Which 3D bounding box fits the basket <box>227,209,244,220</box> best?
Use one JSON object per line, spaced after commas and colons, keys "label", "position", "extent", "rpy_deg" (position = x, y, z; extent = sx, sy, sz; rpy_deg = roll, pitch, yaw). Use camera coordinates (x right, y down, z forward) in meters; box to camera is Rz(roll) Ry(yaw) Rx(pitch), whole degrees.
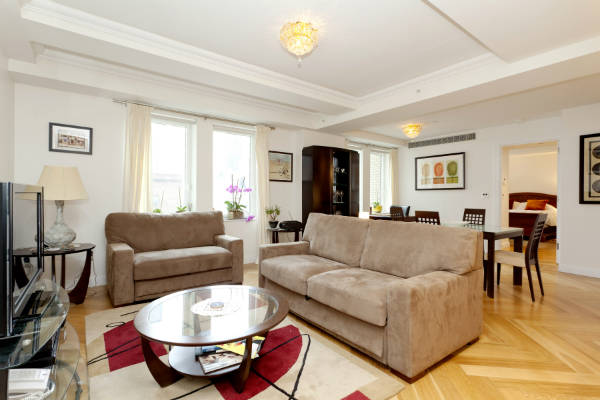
{"label": "basket", "position": [-1.167, 0.265, 7.067], "extent": [0.192, 0.111, 0.187], "rpy_deg": [2, -2, -33]}

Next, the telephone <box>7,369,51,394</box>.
{"label": "telephone", "position": [-2.192, 1.462, 3.126], "extent": [0.319, 0.167, 0.121], "rpy_deg": [0, 1, -7]}

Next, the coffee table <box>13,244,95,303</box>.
{"label": "coffee table", "position": [-3.128, 1.012, 5.262], "extent": [0.821, 0.656, 0.858], "rpy_deg": [2, -11, -15]}

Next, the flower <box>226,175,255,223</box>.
{"label": "flower", "position": [-1.130, -0.049, 7.154], "extent": [0.503, 0.756, 0.564], "rpy_deg": [1, 3, -33]}

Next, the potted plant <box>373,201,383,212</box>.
{"label": "potted plant", "position": [1.888, 0.163, 9.496], "extent": [0.260, 0.327, 0.229], "rpy_deg": [1, -5, -5]}

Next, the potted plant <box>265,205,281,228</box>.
{"label": "potted plant", "position": [-0.507, 0.318, 7.367], "extent": [0.344, 0.387, 0.362], "rpy_deg": [-1, 0, 2]}

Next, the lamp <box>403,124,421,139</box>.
{"label": "lamp", "position": [2.254, -1.384, 7.741], "extent": [0.336, 0.230, 0.330], "rpy_deg": [-1, -1, 1]}

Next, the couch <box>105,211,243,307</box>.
{"label": "couch", "position": [-1.787, 0.756, 5.704], "extent": [1.833, 1.183, 1.063], "rpy_deg": [-3, 5, -35]}

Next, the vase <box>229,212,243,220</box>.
{"label": "vase", "position": [-1.165, 0.295, 7.055], "extent": [0.159, 0.092, 0.156], "rpy_deg": [2, -3, -32]}

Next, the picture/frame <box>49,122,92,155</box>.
{"label": "picture/frame", "position": [-3.341, -0.894, 5.575], "extent": [0.517, 0.421, 0.037], "rpy_deg": [1, -4, -36]}

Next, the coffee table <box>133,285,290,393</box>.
{"label": "coffee table", "position": [-0.883, 1.145, 3.802], "extent": [1.082, 0.438, 1.056], "rpy_deg": [2, -1, -34]}

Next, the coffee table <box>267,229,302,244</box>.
{"label": "coffee table", "position": [-0.324, 0.631, 7.238], "extent": [0.391, 0.413, 0.406], "rpy_deg": [-1, 0, -39]}

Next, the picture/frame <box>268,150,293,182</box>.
{"label": "picture/frame", "position": [-0.393, -0.661, 7.592], "extent": [0.625, 0.600, 0.023], "rpy_deg": [0, 3, -40]}

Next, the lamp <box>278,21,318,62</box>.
{"label": "lamp", "position": [-0.011, -1.923, 4.542], "extent": [0.444, 0.179, 0.520], "rpy_deg": [2, -20, -5]}
